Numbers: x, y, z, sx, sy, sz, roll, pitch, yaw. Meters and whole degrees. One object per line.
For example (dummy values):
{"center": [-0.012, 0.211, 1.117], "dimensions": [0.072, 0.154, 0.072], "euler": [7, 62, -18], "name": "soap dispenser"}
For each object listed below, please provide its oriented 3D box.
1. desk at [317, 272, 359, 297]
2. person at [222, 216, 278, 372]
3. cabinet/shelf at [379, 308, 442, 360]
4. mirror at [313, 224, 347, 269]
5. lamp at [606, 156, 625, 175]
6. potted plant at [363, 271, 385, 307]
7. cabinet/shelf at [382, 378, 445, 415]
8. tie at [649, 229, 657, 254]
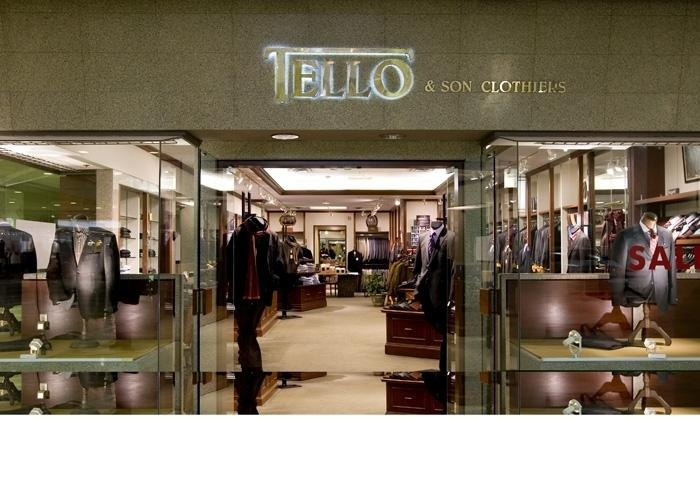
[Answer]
{"center": [-0.236, 0.802, 14.352], "dimensions": [0.649, 0.398, 0.665], "euler": [0, 2, 22], "name": "desk"}
{"center": [-1.018, 0.471, 6.332], "dimensions": [0.542, 1.622, 0.394], "euler": [4, -5, -20], "name": "person"}
{"center": [0.701, 0.905, 7.086], "dimensions": [0.807, 0.517, 0.447], "euler": [-1, -5, 17], "name": "cabinet/shelf"}
{"center": [-0.501, -0.104, 16.015], "dimensions": [1.135, 1.494, 0.120], "euler": [-1, -5, -2], "name": "mirror"}
{"center": [2.108, -0.658, 4.838], "dimensions": [0.142, 0.096, 0.066], "euler": [0, 0, 25], "name": "lamp"}
{"center": [0.586, 0.789, 12.596], "dimensions": [0.552, 0.722, 0.547], "euler": [-3, 4, -25], "name": "potted plant"}
{"center": [0.546, 1.291, 5.328], "dimensions": [0.395, 0.189, 0.395], "euler": [0, -4, 1], "name": "cabinet/shelf"}
{"center": [2.291, -0.063, 4.619], "dimensions": [0.068, 0.130, 0.042], "euler": [0, 0, -24], "name": "tie"}
